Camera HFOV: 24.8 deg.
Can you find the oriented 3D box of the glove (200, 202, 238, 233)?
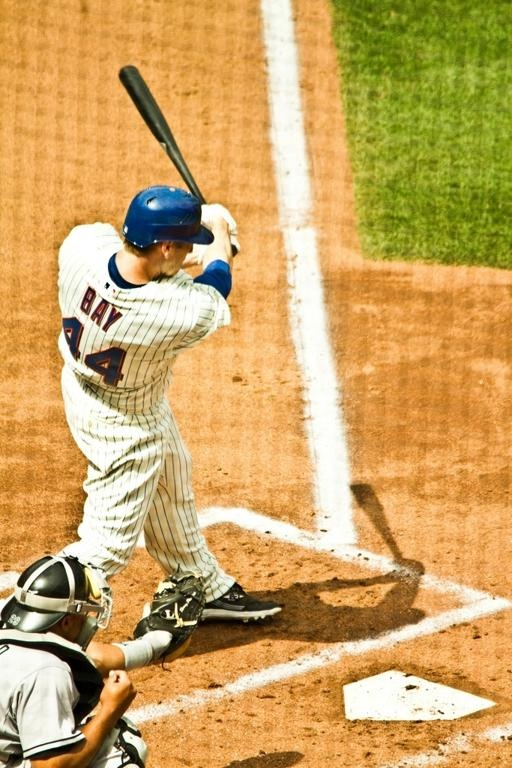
[{"bbox_3d":[-0.161,-0.652,4.512,0.114,0.051,0.132,4,14,-25],"label":"glove"}]

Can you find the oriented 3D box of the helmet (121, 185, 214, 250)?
[{"bbox_3d":[-0.301,-0.586,3.956,0.338,0.157,0.227,-5,39,-21],"label":"helmet"}]

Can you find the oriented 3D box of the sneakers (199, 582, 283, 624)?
[{"bbox_3d":[-0.079,0.884,4.788,0.374,0.167,0.135,-2,13,-4],"label":"sneakers"}]

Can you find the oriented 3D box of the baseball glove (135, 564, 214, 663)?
[{"bbox_3d":[-0.312,0.856,4.414,0.231,0.162,0.361,15,57,21],"label":"baseball glove"}]
